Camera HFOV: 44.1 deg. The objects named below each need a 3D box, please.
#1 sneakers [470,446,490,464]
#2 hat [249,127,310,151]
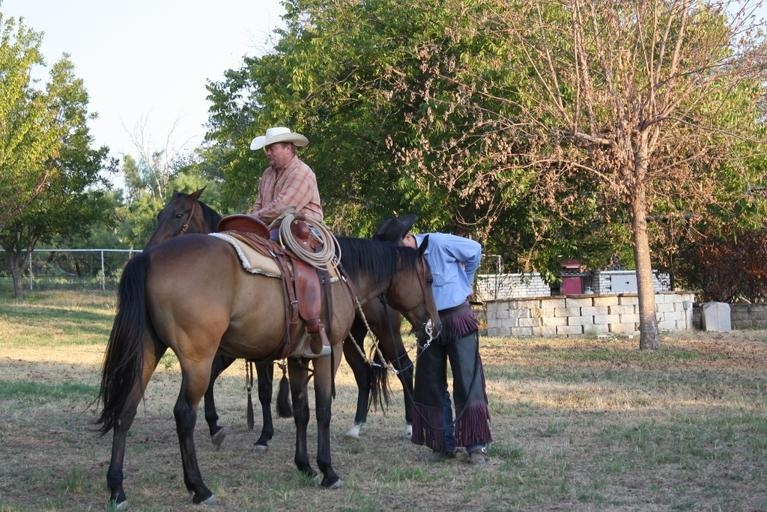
[{"bbox_3d":[1.738,3.463,16.715,0.435,0.286,0.229,-7,14,-30],"label":"sneakers"},{"bbox_3d":[-1.791,-2.067,16.784,0.692,0.275,0.567,-9,2,-26],"label":"hat"}]
